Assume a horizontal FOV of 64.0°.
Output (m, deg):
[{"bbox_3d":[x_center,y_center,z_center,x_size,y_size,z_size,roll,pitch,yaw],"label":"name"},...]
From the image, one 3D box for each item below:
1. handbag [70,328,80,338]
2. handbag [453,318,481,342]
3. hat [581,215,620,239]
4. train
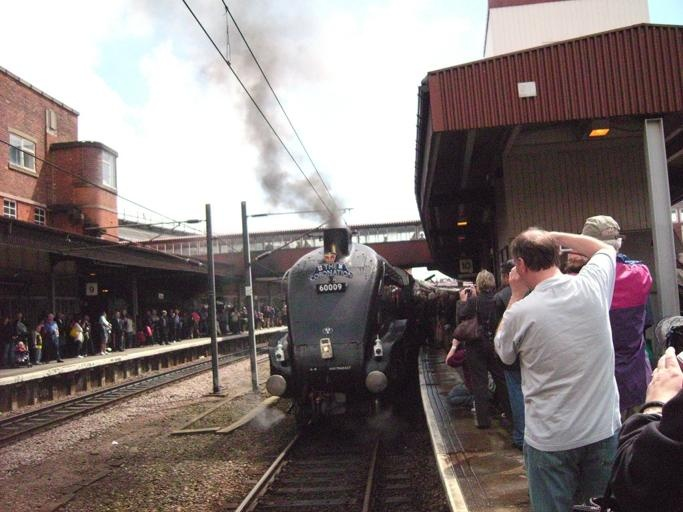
[{"bbox_3d":[-9.557,2.714,19.468,0.186,0.346,0.335,0,-19,-2],"label":"handbag"},{"bbox_3d":[1.745,1.015,7.498,0.117,0.230,0.285,22,-26,-38],"label":"handbag"},{"bbox_3d":[2.250,-0.231,4.770,0.204,0.265,0.304,0,13,-15],"label":"hat"},{"bbox_3d":[0.214,1.477,11.607,2.315,4.038,4.511,-2,-2,13],"label":"train"}]
